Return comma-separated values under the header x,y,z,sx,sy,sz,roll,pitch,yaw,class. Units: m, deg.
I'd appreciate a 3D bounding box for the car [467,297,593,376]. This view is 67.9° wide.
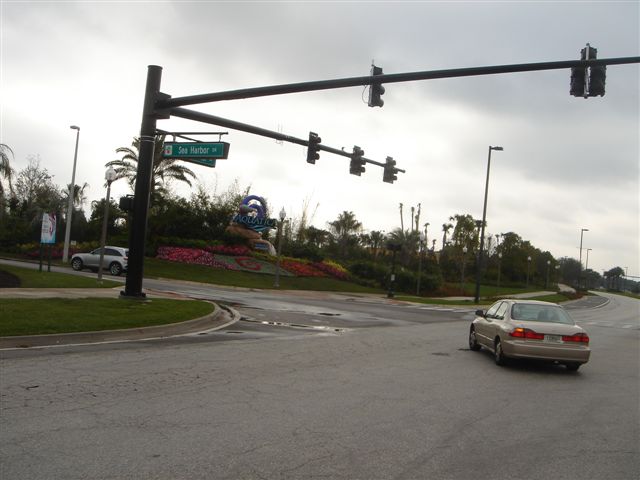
x,y,z,sx,sy,sz,roll,pitch,yaw,class
5.117,2.387,12.292,1.778,1.656,2.844,4,-3,-14,car

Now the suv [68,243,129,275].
x,y,z,sx,sy,sz,roll,pitch,yaw,class
-14.782,1.296,31.785,3.597,1.476,1.753,4,-1,19,suv

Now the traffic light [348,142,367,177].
x,y,z,sx,sy,sz,roll,pitch,yaw,class
1.649,-3.566,21.674,0.715,1.001,1.371,4,-2,2,traffic light

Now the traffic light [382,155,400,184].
x,y,z,sx,sy,sz,roll,pitch,yaw,class
3.266,-3.351,22.874,0.529,0.821,0.894,2,-3,45,traffic light
